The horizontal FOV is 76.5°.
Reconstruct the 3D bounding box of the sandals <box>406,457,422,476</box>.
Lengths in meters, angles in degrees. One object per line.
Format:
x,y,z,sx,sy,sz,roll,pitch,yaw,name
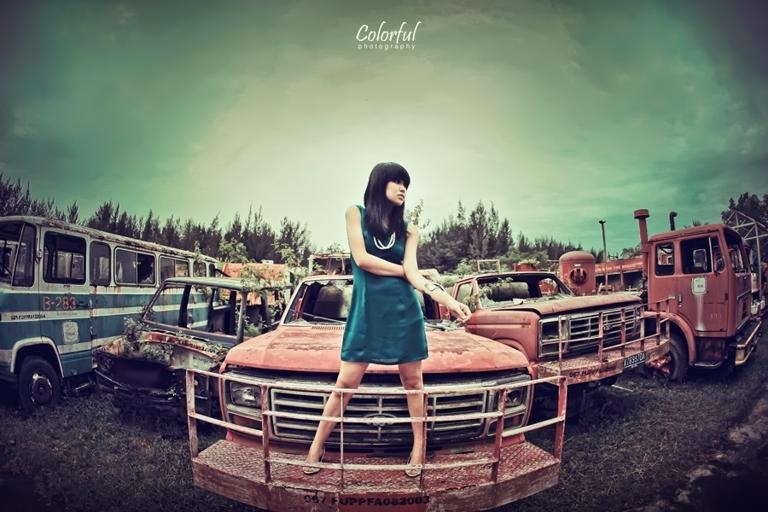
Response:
0.365,2.619,5.977,0.192,0.260,0.307,2,-1,-1,sandals
